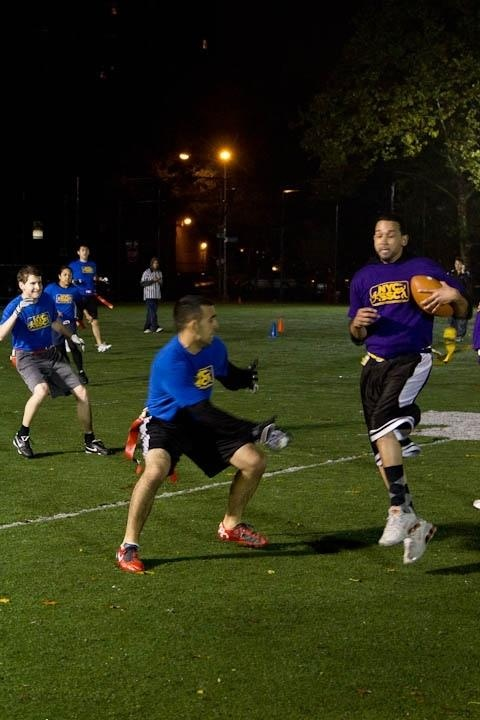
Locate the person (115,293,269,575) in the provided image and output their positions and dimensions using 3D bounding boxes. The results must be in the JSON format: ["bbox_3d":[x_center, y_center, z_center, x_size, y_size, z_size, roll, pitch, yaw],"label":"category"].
[{"bbox_3d":[-0.353,0.377,4.038,0.994,1.553,1.012,1,15,-21],"label":"person"}]

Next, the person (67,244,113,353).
[{"bbox_3d":[-4.331,-1.958,18.146,1.467,4.046,1.187,4,10,-9],"label":"person"}]

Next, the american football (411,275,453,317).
[{"bbox_3d":[1.183,-0.396,3.952,0.226,0.265,0.146,2,9,6],"label":"american football"}]
